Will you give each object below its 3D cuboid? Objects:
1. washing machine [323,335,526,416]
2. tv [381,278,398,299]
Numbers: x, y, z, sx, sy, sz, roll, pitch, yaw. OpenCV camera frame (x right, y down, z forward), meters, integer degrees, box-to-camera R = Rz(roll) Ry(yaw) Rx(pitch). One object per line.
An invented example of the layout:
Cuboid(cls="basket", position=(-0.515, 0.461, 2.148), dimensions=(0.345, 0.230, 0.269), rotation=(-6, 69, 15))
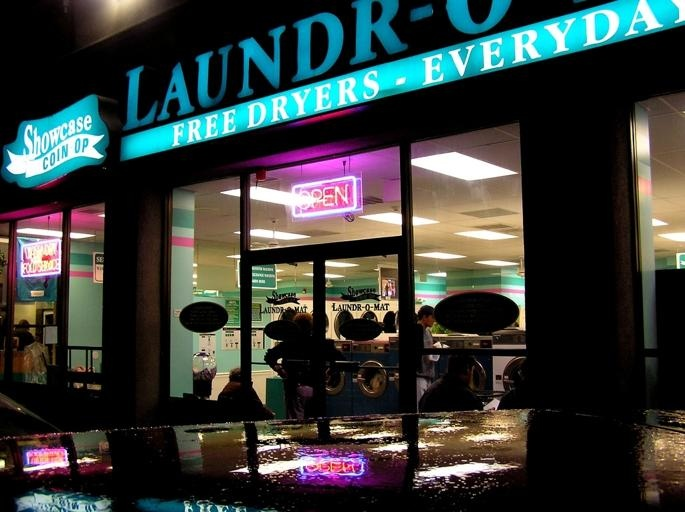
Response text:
Cuboid(cls="washing machine", position=(0.678, 0.964, 5.096), dimensions=(1.106, 0.878, 0.594), rotation=(-9, -15, 42))
Cuboid(cls="tv", position=(0.423, 0.280, 5.521), dimensions=(0.124, 0.188, 0.220), rotation=(3, -1, -28))
